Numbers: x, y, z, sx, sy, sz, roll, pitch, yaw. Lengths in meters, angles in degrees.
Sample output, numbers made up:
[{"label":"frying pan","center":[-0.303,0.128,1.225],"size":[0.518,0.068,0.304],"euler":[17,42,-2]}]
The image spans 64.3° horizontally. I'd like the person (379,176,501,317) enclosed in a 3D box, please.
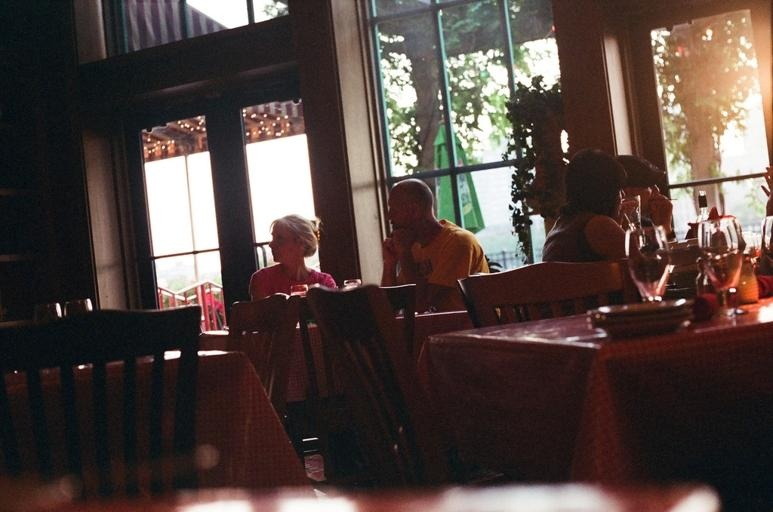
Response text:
[{"label":"person","center":[0.277,0.003,3.599],"size":[0.693,0.904,0.619],"euler":[5,3,37]}]
